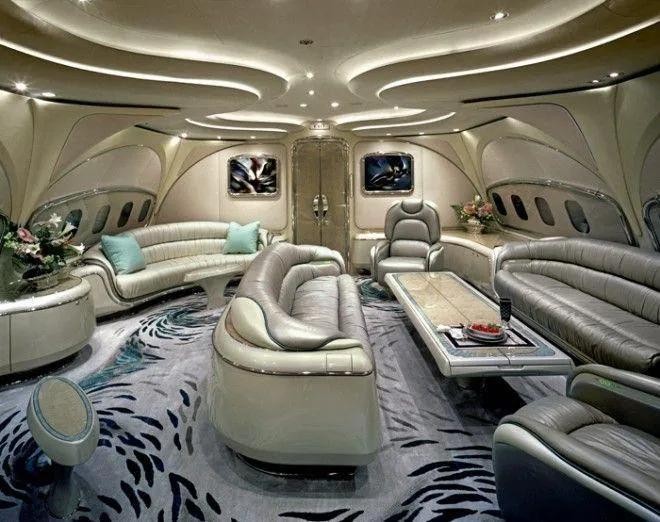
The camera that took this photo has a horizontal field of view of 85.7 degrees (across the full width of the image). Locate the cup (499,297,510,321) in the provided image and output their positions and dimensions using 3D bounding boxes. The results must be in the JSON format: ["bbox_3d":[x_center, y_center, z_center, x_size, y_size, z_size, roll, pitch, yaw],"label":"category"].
[{"bbox_3d":[1.514,0.429,3.057,0.074,0.222,0.142,10,16,39],"label":"cup"}]

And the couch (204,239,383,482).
[{"bbox_3d":[-0.343,0.571,3.584,1.228,1.073,3.089,0,11,-3],"label":"couch"}]

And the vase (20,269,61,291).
[{"bbox_3d":[-2.926,0.210,3.625,0.187,0.118,0.261,-2,-4,-20],"label":"vase"}]

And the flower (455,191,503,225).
[{"bbox_3d":[2.847,-0.935,6.854,0.716,0.596,0.943,-1,13,-2],"label":"flower"}]

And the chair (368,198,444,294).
[{"bbox_3d":[1.289,-0.258,5.874,1.110,1.373,1.144,2,15,17],"label":"chair"}]
